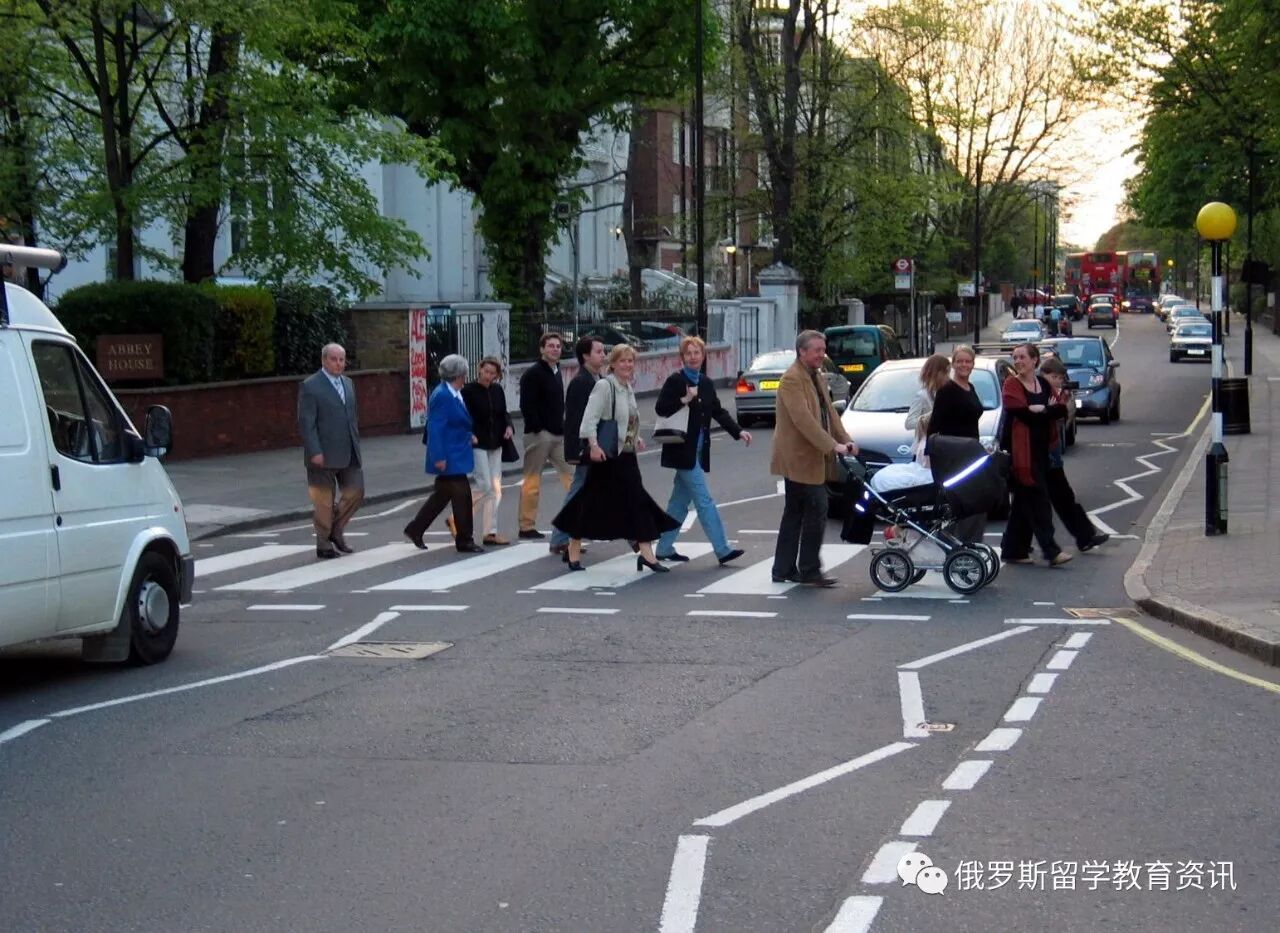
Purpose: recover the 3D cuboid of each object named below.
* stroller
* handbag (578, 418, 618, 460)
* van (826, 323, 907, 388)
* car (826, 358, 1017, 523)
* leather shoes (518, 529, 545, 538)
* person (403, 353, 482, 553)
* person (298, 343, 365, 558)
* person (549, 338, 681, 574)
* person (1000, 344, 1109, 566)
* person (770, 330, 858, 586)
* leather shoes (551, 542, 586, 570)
[{"bbox_3d":[2.728,0.517,13.178,1.519,1.741,1.085,2,2,12],"label":"stroller"},{"bbox_3d":[-0.410,-0.279,13.356,0.344,0.376,0.167,0,-7,0],"label":"handbag"},{"bbox_3d":[5.734,-2.980,34.861,1.297,1.343,2.418,1,11,20],"label":"van"},{"bbox_3d":[3.438,-0.655,17.150,1.421,1.467,2.779,-1,0,25],"label":"car"},{"bbox_3d":[-1.302,0.815,16.053,0.311,0.159,0.115,0,4,-3],"label":"leather shoes"},{"bbox_3d":[-2.279,-0.163,15.460,0.736,2.199,1.261,-3,6,-8],"label":"person"},{"bbox_3d":[-3.459,-0.181,14.978,0.623,2.375,0.981,-4,6,-15],"label":"person"},{"bbox_3d":[-0.288,-0.057,13.583,1.140,2.330,0.760,-3,6,-3],"label":"person"},{"bbox_3d":[4.146,-0.137,13.946,0.665,2.271,1.161,2,7,38],"label":"person"},{"bbox_3d":[1.594,-0.065,12.790,0.766,2.446,0.758,-1,6,11],"label":"person"},{"bbox_3d":[-0.756,0.964,14.225,0.170,0.254,0.555,1,-1,-26],"label":"leather shoes"}]
